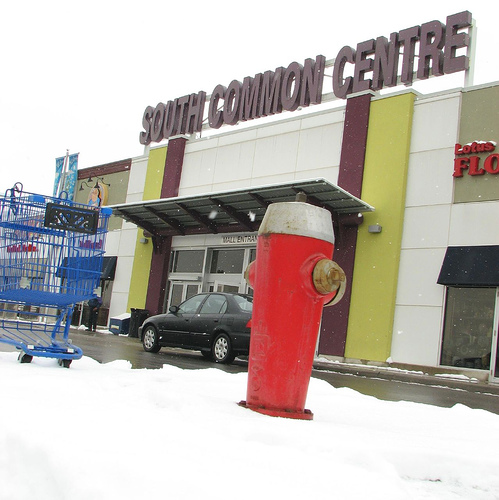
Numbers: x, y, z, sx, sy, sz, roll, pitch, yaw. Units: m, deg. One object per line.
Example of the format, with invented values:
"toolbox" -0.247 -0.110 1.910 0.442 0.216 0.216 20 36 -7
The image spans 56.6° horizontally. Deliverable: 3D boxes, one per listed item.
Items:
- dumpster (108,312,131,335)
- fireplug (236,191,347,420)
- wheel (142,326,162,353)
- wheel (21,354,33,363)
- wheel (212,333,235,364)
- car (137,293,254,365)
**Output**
"dumpster" -5.938 3.407 21.054 0.782 1.150 1.030 9 -13 -42
"fireplug" 0.303 0.390 3.232 0.665 1.463 0.453 6 -6 2
"wheel" -2.710 2.485 12.872 0.620 0.757 0.238 -1 -16 31
"wheel" -2.267 1.096 4.695 0.061 0.103 0.089 2 5 -12
"wheel" -0.616 2.350 11.113 0.256 0.722 0.718 11 -8 -39
"car" -1.114 1.867 12.166 1.618 1.652 3.779 12 -9 -42
